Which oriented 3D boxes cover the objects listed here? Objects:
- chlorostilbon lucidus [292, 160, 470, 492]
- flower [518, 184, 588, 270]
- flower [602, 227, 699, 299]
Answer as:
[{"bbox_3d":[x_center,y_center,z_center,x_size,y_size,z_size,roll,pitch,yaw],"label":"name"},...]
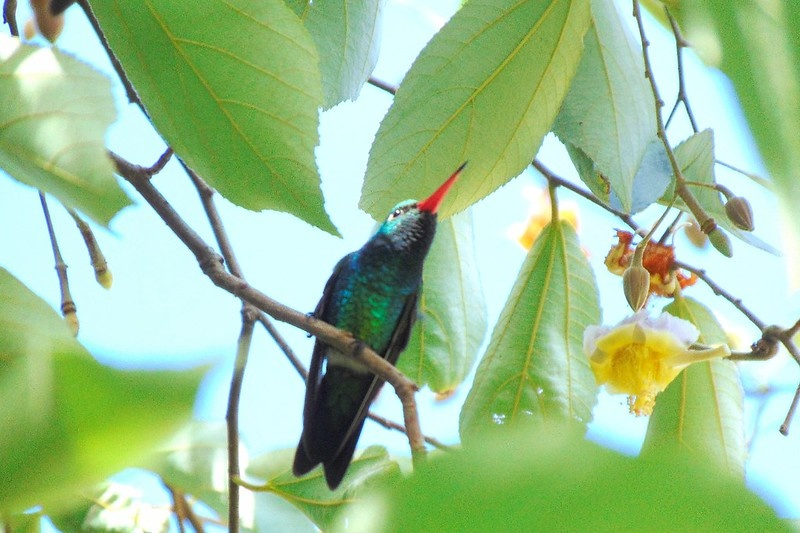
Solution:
[{"bbox_3d":[-0.053,0.093,1.471,0.123,0.402,0.169,25,12,0],"label":"chlorostilbon lucidus"},{"bbox_3d":[0.175,-0.051,1.478,0.035,0.092,0.088,-11,20,-36],"label":"flower"},{"bbox_3d":[0.265,-0.020,1.227,0.075,0.044,0.098,24,-18,-31],"label":"flower"}]
